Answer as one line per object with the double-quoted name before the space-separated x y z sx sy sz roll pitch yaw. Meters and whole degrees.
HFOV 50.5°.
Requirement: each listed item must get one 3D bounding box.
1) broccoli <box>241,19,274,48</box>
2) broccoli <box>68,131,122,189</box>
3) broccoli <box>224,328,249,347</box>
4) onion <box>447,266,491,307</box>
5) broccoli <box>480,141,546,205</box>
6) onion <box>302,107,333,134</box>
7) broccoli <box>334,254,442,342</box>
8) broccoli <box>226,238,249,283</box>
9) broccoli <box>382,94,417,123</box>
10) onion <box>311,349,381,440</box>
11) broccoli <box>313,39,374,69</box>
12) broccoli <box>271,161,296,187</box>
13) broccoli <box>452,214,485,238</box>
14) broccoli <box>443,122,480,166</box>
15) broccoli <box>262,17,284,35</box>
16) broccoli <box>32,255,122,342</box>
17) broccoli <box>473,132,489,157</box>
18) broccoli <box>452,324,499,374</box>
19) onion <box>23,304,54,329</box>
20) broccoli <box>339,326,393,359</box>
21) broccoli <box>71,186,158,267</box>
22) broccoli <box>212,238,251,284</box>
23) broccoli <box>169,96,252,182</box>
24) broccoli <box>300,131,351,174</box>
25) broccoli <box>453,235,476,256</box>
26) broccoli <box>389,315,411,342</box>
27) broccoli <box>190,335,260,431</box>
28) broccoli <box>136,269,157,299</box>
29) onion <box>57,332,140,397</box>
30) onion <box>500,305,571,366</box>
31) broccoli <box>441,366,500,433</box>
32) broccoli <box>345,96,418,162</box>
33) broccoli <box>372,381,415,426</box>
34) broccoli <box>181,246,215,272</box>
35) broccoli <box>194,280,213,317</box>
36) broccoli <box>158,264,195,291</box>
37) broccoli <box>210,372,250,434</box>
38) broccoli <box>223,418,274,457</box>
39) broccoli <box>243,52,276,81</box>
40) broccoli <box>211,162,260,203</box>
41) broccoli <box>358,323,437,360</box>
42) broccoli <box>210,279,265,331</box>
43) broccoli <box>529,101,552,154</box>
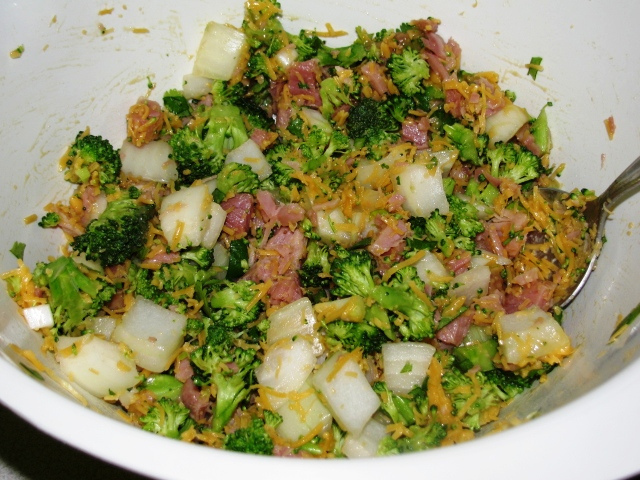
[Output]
"broccoli" -0.357 -1.134 3.774 0.143 0.045 0.146 -36 113 21
"broccoli" -1.231 -0.377 3.653 0.251 0.289 0.086 -30 65 18
"broccoli" -0.427 0.491 3.416 0.092 0.056 0.073 -23 64 1
"onion" 0.796 0.222 3.633 0.263 0.458 0.105 -6 111 18
"broccoli" 1.071 -0.385 3.806 0.349 0.110 0.305 -45 72 12
"onion" -0.017 -0.673 3.839 0.110 0.043 0.183 -38 88 -27
"broccoli" 0.325 0.295 3.463 0.420 0.167 0.470 -27 81 11
"broccoli" -0.431 0.103 3.563 0.120 0.078 0.205 -8 86 -13
"broccoli" 0.434 -0.734 3.805 0.157 0.158 0.145 10 71 -28
"onion" 0.140 0.745 3.343 0.245 0.091 0.367 -40 83 -12
"broccoli" 0.141 -1.027 3.731 0.245 0.076 0.189 -8 94 -3
"broccoli" -0.198 -0.364 3.712 0.125 0.036 0.127 -39 71 0
"broccoli" 0.782 -0.075 3.606 0.162 0.048 0.107 39 69 21
"broccoli" 0.782 -0.537 3.716 0.245 0.091 0.140 45 108 -4
"broccoli" -0.265 -1.185 3.774 0.088 0.026 0.092 20 94 -20
"broccoli" -1.271 0.218 3.597 0.397 0.464 0.149 21 97 19
"broccoli" 0.876 -0.519 3.745 0.097 0.030 0.101 -29 116 -32
"broccoli" 0.806 0.561 3.463 0.217 0.075 0.236 -1 74 4
"onion" -1.409 0.392 3.407 0.127 0.041 0.123 -14 79 -7
"broccoli" 0.238 0.518 3.450 0.176 0.070 0.174 10 76 -10
"broccoli" -1.053 -0.050 3.549 0.327 0.151 0.433 22 76 -16
"broccoli" -0.470 0.100 3.636 0.104 0.169 0.240 12 112 -23
"broccoli" -0.606 -0.554 3.779 0.398 0.195 0.485 24 82 -6
"broccoli" 0.049 -0.483 3.787 0.276 0.146 0.174 -36 42 -3
"broccoli" 0.758 0.026 3.584 0.088 0.033 0.093 24 59 -10
"broccoli" 0.414 0.440 3.450 0.035 0.120 0.122 -30 75 -1
"broccoli" -0.456 0.657 3.269 0.299 0.198 0.485 5 79 -5
"broccoli" -0.913 0.227 3.535 0.094 0.040 0.130 5 71 -7
"onion" -1.108 0.620 3.366 0.386 0.087 0.255 38 62 3
"onion" 1.068 0.477 3.433 0.317 0.136 0.266 -12 78 -7
"broccoli" 0.741 0.775 3.385 0.288 0.074 0.302 -27 95 -8
"broccoli" 0.315 -0.656 3.789 0.293 0.182 0.401 -2 88 25
"broccoli" 0.367 0.825 3.481 0.173 0.090 0.220 -39 90 -6
"broccoli" -0.636 0.086 3.524 0.135 0.067 0.131 13 86 -5
"broccoli" -0.615 0.297 3.526 0.103 0.037 0.164 -30 107 -26
"broccoli" -0.752 0.194 3.498 0.137 0.053 0.139 -36 91 -5
"broccoli" -0.462 0.792 3.350 0.214 0.082 0.274 20 84 -10
"broccoli" -0.335 0.950 3.241 0.178 0.108 0.205 16 57 9
"broccoli" -0.337 -0.979 3.857 0.142 0.046 0.154 -1 110 5
"broccoli" -0.460 -0.323 3.629 0.240 0.081 0.177 -31 89 -13
"broccoli" 0.391 0.516 3.472 0.432 0.177 0.087 -14 78 -7
"broccoli" -0.420 0.311 3.395 0.220 0.075 0.234 -21 81 -13
"broccoli" 1.206 -0.610 3.710 0.141 0.056 0.250 8 88 8
